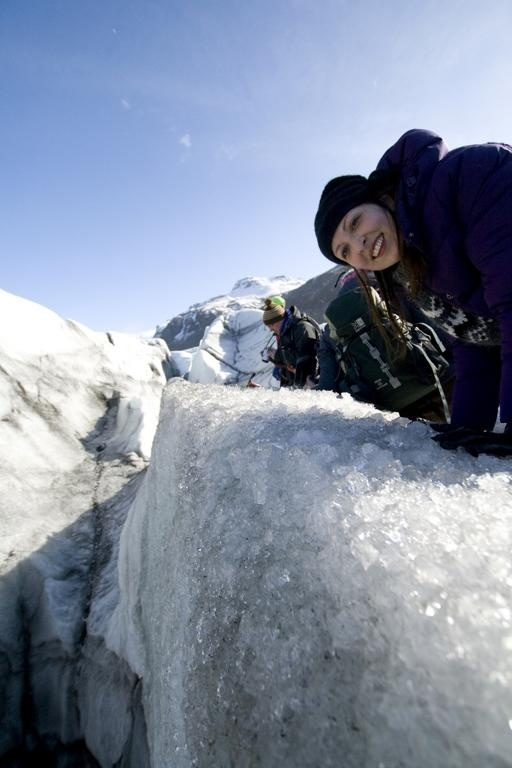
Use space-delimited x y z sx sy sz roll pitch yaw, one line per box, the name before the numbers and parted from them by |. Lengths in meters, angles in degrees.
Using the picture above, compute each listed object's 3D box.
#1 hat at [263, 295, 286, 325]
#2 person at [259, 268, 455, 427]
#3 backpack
hat | 0.179 -0.727 4.255 0.196 0.268 0.284 6 -10 6
person | 0.477 -0.205 2.575 1.099 0.817 1.198 1 13 -20
backpack | 0.616 -0.156 1.951 0.394 0.548 0.286 -38 -19 36
